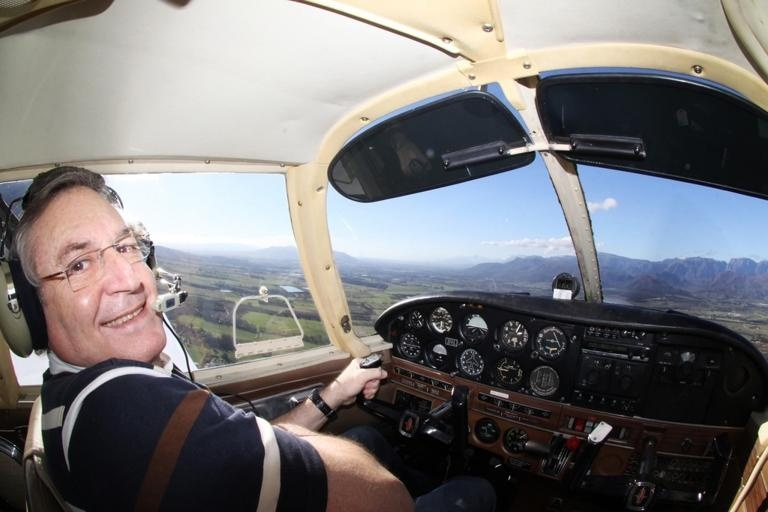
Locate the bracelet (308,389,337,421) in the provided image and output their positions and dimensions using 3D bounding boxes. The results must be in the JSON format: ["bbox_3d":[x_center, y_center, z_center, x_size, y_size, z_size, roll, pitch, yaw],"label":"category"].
[{"bbox_3d":[-0.404,0.970,2.841,0.091,0.154,0.152,-43,44,-22],"label":"bracelet"}]
